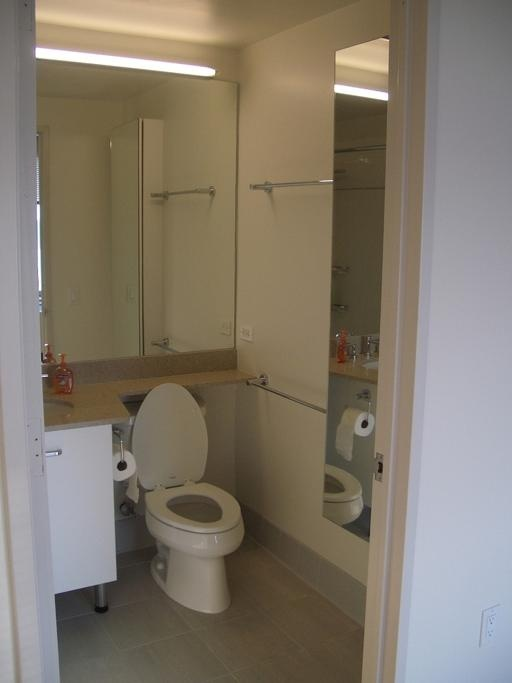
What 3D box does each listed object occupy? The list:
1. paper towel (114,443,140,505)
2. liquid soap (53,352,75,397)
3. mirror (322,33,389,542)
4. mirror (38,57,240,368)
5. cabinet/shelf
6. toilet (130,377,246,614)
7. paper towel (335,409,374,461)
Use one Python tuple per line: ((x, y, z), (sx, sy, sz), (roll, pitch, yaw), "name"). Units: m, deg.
((-0.507, 0.539, 2.162), (0.103, 0.246, 0.155), (-2, 1, -10), "paper towel")
((-0.783, 0.130, 2.255), (0.076, 0.144, 0.213), (-1, 6, -19), "liquid soap")
((0.349, -0.145, 1.945), (0.119, 1.757, 0.471), (0, 5, -8), "mirror")
((-0.487, -0.567, 2.492), (0.929, 1.293, 0.107), (-2, 5, -32), "mirror")
((-0.590, 0.584, 1.894), (0.279, 0.600, 0.148), (-4, 7, -45), "cabinet/shelf")
((-0.299, 0.614, 2.328), (0.412, 0.841, 0.586), (-1, 5, -22), "toilet")
((0.352, 0.357, 2.075), (0.082, 0.191, 0.098), (17, -4, -40), "paper towel")
